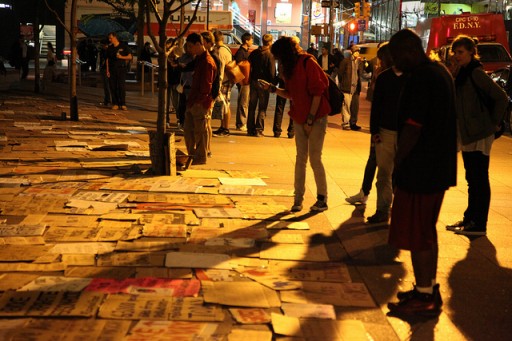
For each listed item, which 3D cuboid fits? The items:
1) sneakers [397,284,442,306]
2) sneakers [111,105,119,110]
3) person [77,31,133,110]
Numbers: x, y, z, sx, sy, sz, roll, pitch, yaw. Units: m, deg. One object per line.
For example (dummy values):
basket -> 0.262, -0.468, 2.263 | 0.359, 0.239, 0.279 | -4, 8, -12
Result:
sneakers -> 1.558, 1.183, 3.767 | 0.168, 0.177, 0.489 | -25, 6, -40
sneakers -> -5.267, -2.362, 15.077 | 0.189, 0.099, 0.285 | 1, 4, -6
person -> -5.159, -3.665, 14.884 | 0.996, 2.773, 0.950 | -1, 13, -17
